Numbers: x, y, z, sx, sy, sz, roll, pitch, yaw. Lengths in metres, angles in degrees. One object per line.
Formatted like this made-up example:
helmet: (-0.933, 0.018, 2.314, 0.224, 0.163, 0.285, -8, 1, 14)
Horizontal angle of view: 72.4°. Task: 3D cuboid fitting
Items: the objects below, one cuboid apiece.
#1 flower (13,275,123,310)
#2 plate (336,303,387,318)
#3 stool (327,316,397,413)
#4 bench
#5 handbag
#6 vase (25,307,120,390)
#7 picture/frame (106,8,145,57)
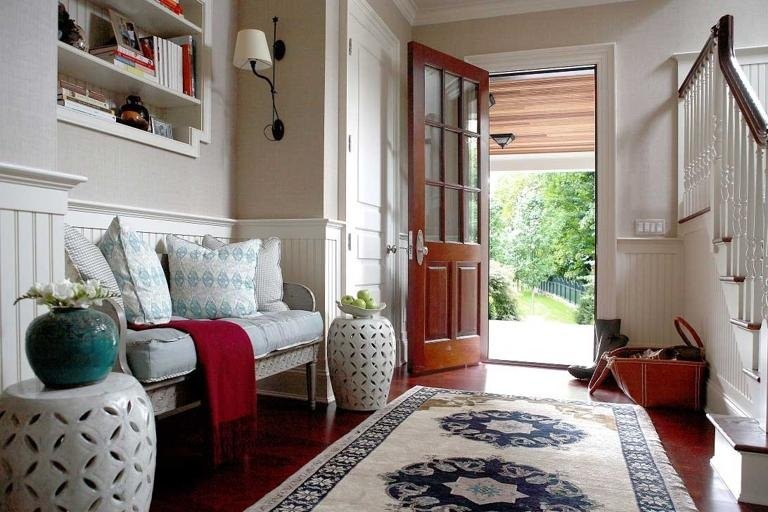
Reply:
flower: (-1.306, 0.154, 2.164, 0.290, 0.113, 0.108, -3, 2, -24)
plate: (-0.158, 0.372, 3.688, 0.324, 0.105, 0.152, -2, 1, -12)
stool: (-0.158, 0.742, 3.817, 0.562, 0.668, 0.584, 1, -3, -28)
bench: (-1.053, 0.345, 2.894, 0.575, 1.010, 1.311, -4, -2, 27)
handbag: (2.015, 0.880, 3.847, 0.518, 0.265, 0.390, 0, -6, 15)
vase: (-1.305, 0.362, 2.199, 0.326, 0.287, 0.323, 0, 2, -41)
picture/frame: (-1.654, -1.431, 3.317, 0.194, 0.258, 0.201, -1, 2, 30)
